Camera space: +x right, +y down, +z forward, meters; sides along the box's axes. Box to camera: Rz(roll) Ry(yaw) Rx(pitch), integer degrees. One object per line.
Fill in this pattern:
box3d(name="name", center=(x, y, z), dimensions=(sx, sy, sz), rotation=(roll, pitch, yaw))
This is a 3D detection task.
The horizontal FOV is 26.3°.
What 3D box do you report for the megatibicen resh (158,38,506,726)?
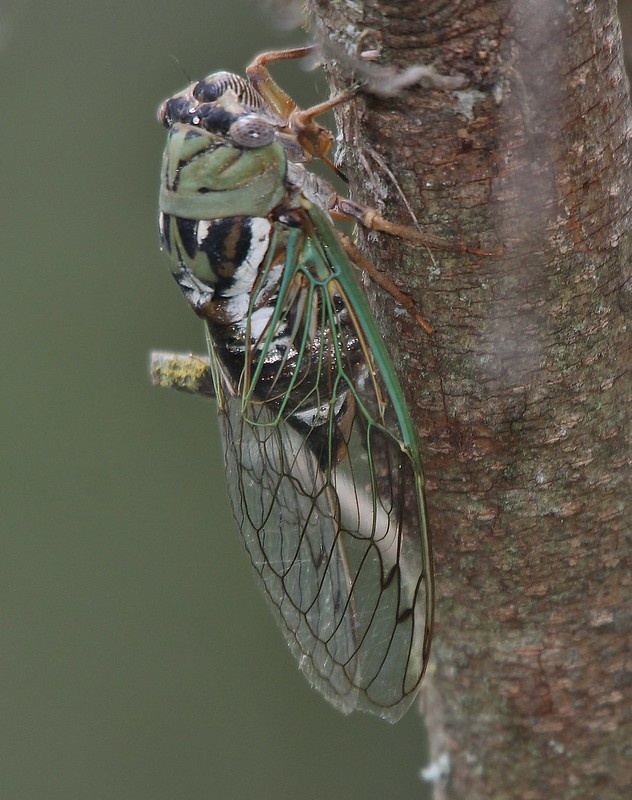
box3d(name="megatibicen resh", center=(0.098, -0.041, 1.377), dimensions=(0.185, 0.617, 0.438), rotation=(-20, 31, -35))
